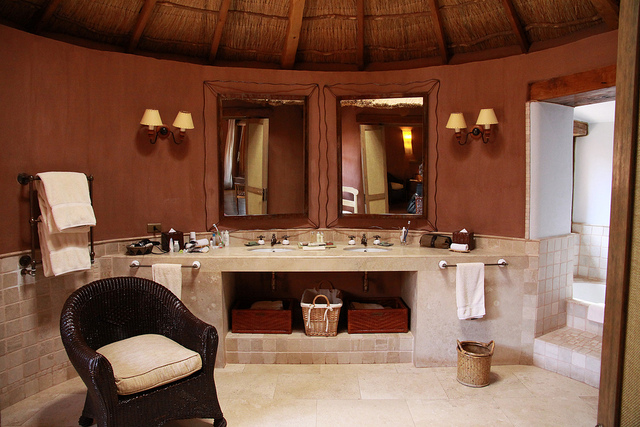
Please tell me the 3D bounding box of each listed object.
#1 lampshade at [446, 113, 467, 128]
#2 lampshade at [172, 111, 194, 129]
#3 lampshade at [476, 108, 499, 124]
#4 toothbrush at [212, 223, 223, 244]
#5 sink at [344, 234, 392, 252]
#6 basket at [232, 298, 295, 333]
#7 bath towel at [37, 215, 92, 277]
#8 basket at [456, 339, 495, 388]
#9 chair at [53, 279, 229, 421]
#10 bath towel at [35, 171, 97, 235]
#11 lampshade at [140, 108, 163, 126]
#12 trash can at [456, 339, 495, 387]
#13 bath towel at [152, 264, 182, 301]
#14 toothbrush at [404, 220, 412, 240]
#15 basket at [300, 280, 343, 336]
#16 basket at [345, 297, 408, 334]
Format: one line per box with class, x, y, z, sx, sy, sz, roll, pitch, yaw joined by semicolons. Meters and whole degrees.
lampshade;1.509;-1.023;5.457;0.171;0.164;0.171;-11;16;-23
lampshade;-1.494;-1.019;5.406;0.184;0.178;0.183;-11;24;-42
lampshade;1.809;-1.041;5.312;0.170;0.166;0.173;-4;14;-1
toothbrush;-1.208;0.210;5.746;0.052;0.307;0.058;-35;-22;29
sink;0.538;0.335;5.620;0.508;0.170;0.513;-1;1;1
basket;-0.636;1.154;5.599;0.666;0.299;0.520;-1;1;-1
bath towel;-2.435;0.334;4.706;0.445;0.587;0.170;-5;-3;-39
basket;1.580;1.515;5.074;0.374;0.420;0.399;2;-3;7
chair;-1.719;1.095;4.552;1.229;1.157;1.418;3;-6;-39
bath towel;-2.463;-0.150;4.759;0.226;0.665;0.517;-33;-19;32
lampshade;-1.802;-1.020;5.277;0.183;0.179;0.185;19;21;41
trash can;1.525;1.491;5.038;0.427;0.475;0.439;1;-3;-1
bath towel;-1.532;0.688;4.907;0.351;0.565;0.065;-1;-1;-1
toothbrush;1.040;0.167;5.786;0.048;0.300;0.034;27;-15;-37
basket;0.032;1.044;5.559;0.431;0.427;0.624;-2;8;1
basket;0.633;1.149;5.588;0.664;0.321;0.454;-1;1;0
